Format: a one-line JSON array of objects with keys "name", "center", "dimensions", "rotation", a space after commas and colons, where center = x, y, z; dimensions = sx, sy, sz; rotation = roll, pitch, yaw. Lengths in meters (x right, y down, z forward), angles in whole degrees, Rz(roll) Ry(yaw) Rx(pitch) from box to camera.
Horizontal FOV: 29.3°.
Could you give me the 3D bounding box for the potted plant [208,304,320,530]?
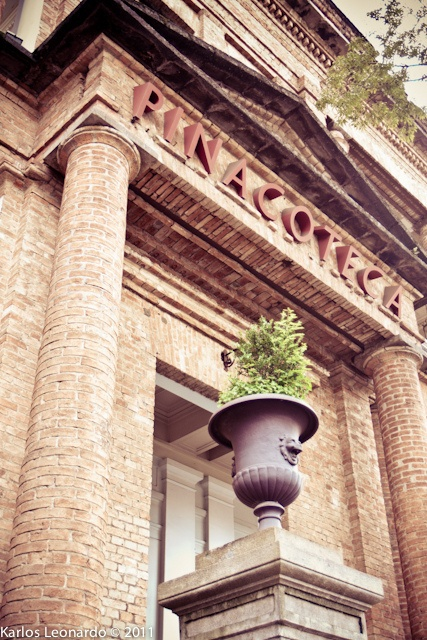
[{"name": "potted plant", "center": [0.458, 0.864, 7.038], "dimensions": [0.923, 2.016, 0.895], "rotation": [23, -46, -24]}]
